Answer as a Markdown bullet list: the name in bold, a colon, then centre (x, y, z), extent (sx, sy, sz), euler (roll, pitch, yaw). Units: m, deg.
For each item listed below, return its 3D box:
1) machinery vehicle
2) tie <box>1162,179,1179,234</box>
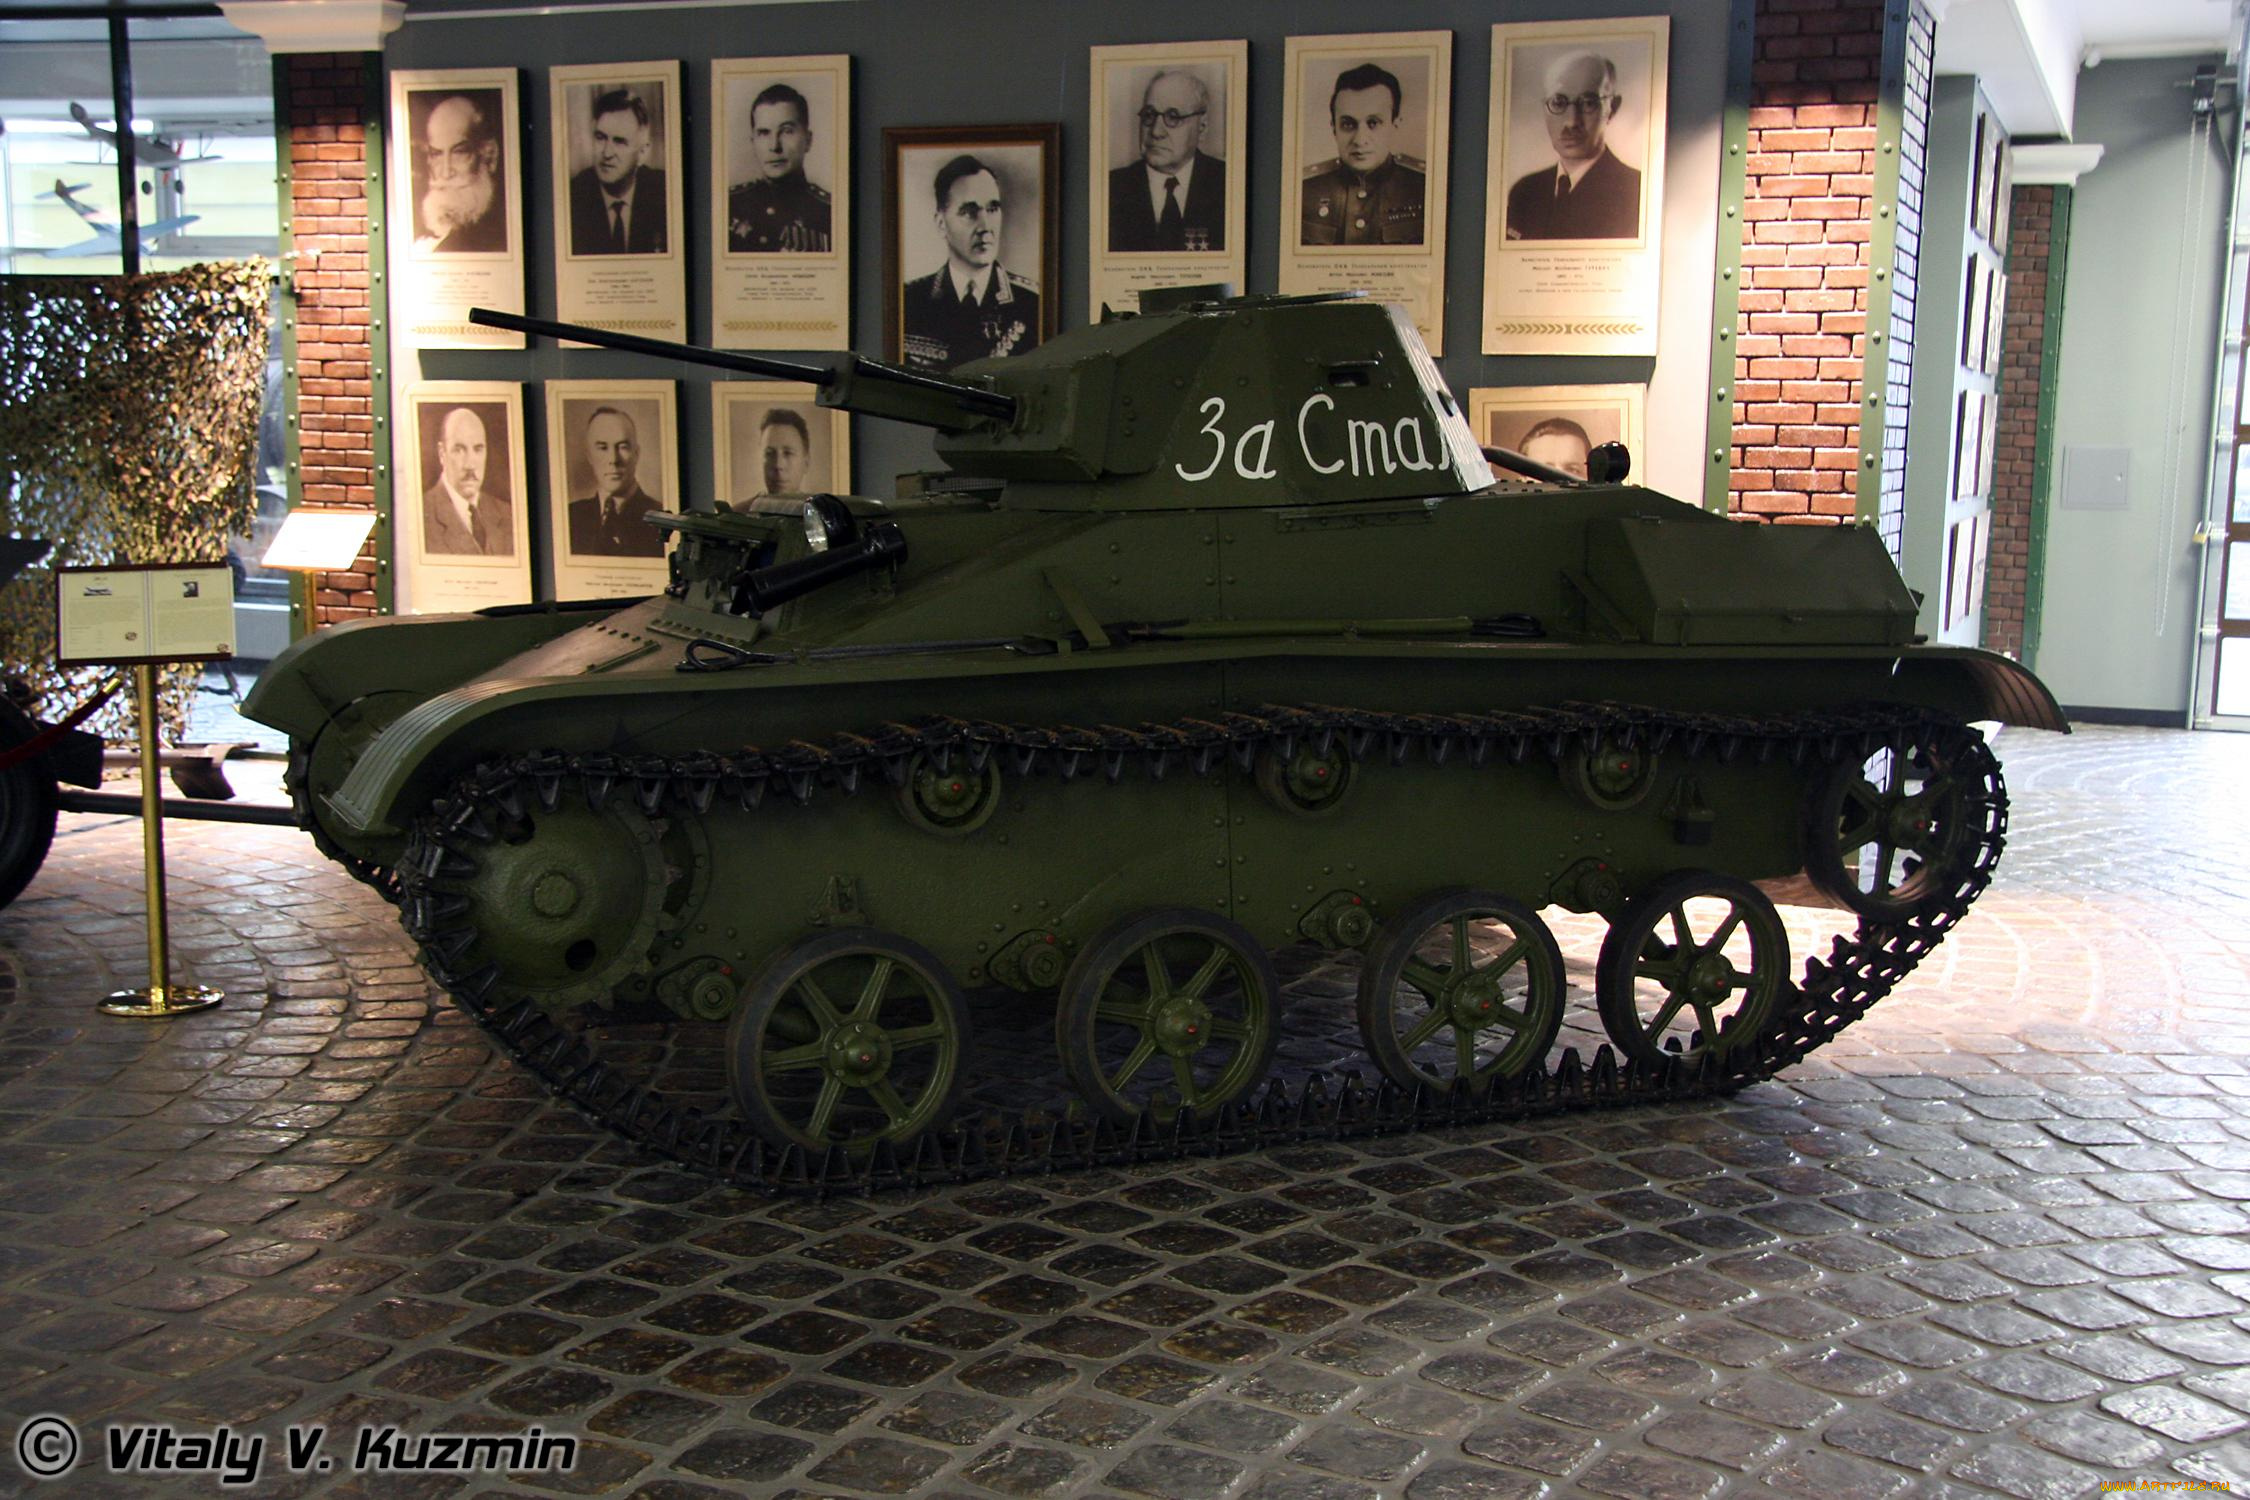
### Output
- **machinery vehicle**: centre (0.169, -0.003, 10.249), extent (6.774, 3.126, 4.300), euler (-1, 4, -18)
- **tie**: centre (0.285, -3.329, 12.780), extent (0.111, 0.357, 0.010), euler (1, 8, 11)
